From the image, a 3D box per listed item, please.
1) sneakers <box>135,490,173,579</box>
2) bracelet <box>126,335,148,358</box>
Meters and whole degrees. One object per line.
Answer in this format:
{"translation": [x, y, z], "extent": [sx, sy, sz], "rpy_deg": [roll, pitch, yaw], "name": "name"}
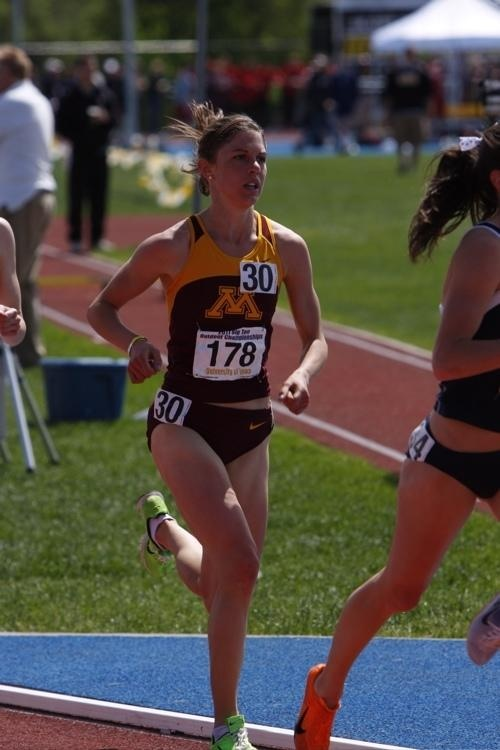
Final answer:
{"translation": [-0.314, 0.549, 2.752], "extent": [0.132, 0.313, 0.138], "rpy_deg": [-4, 30, -4], "name": "sneakers"}
{"translation": [-0.272, -0.068, 1.997], "extent": [0.051, 0.055, 0.023], "rpy_deg": [25, 1, -21], "name": "bracelet"}
